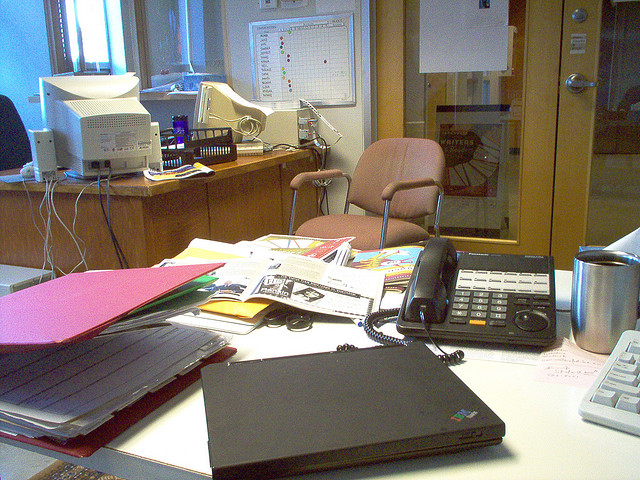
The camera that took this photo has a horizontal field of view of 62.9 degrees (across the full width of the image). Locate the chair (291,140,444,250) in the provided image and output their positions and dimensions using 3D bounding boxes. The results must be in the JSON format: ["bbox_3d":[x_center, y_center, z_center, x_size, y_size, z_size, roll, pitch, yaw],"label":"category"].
[{"bbox_3d":[0.238,-0.233,2.522,0.514,0.857,0.551,6,9,35],"label":"chair"}]

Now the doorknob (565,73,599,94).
[{"bbox_3d":[1.329,-0.792,2.627,0.126,0.089,0.034,6,21,28],"label":"doorknob"}]

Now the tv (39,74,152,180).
[{"bbox_3d":[-0.871,-0.449,2.118,0.395,0.398,0.317,-13,24,-38],"label":"tv"}]

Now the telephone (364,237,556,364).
[{"bbox_3d":[0.286,0.084,0.919,0.248,0.133,0.278,6,20,25],"label":"telephone"}]

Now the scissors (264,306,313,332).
[{"bbox_3d":[-0.048,0.143,0.975,0.096,0.012,0.072,11,23,34],"label":"scissors"}]

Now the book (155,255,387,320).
[{"bbox_3d":[-0.047,0.090,1.059,0.361,0.057,0.201,0,19,7],"label":"book"}]

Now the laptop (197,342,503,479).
[{"bbox_3d":[0.031,0.221,0.700,0.371,0.064,0.192,-6,19,-10],"label":"laptop"}]

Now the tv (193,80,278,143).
[{"bbox_3d":[-0.443,-0.670,2.793,0.393,0.304,0.273,9,20,-9],"label":"tv"}]

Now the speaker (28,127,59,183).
[{"bbox_3d":[-1.064,-0.328,2.050,0.082,0.194,0.072,-7,8,-20],"label":"speaker"}]
